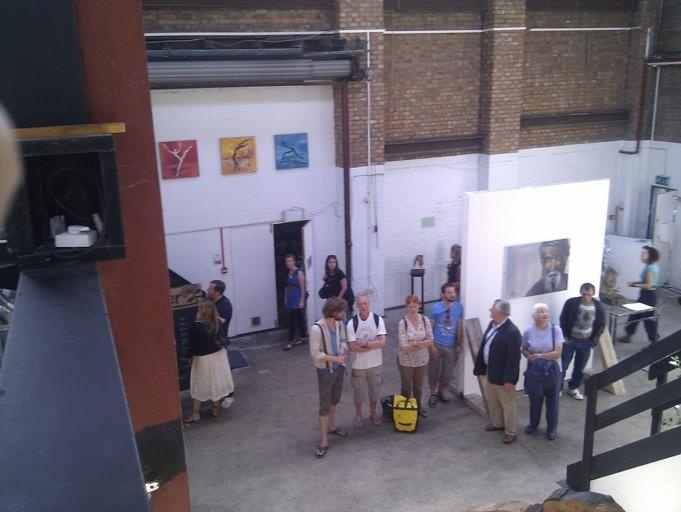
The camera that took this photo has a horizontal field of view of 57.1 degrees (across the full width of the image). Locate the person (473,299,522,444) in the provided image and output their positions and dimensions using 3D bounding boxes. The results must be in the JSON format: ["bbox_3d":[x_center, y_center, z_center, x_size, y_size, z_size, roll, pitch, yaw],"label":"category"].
[{"bbox_3d":[2.154,1.531,8.478,0.340,1.907,0.631,-12,14,-31],"label":"person"}]

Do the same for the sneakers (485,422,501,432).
[{"bbox_3d":[2.129,2.403,8.827,0.253,0.186,0.089,-1,12,0],"label":"sneakers"}]

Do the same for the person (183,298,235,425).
[{"bbox_3d":[-1.888,1.513,8.826,0.629,1.805,0.393,-8,13,-15],"label":"person"}]

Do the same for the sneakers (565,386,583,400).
[{"bbox_3d":[3.634,2.128,9.727,0.108,0.120,0.272,-7,10,-22],"label":"sneakers"}]

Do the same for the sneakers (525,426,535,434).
[{"bbox_3d":[2.651,2.403,8.675,0.188,0.081,0.076,-2,8,-30],"label":"sneakers"}]

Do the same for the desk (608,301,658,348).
[{"bbox_3d":[5.095,1.145,11.122,0.985,0.553,0.399,-11,14,-27],"label":"desk"}]

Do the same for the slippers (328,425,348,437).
[{"bbox_3d":[-0.036,2.416,8.645,0.192,0.082,0.111,0,11,0],"label":"slippers"}]

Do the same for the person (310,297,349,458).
[{"bbox_3d":[-0.139,1.540,8.214,0.545,2.035,0.646,-4,12,-1],"label":"person"}]

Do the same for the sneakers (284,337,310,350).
[{"bbox_3d":[-0.830,1.633,11.771,0.525,0.217,0.161,-3,6,-36],"label":"sneakers"}]

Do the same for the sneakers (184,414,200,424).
[{"bbox_3d":[-2.163,2.345,9.075,0.209,0.085,0.122,5,30,13],"label":"sneakers"}]

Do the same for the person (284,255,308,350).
[{"bbox_3d":[-0.883,0.799,11.642,0.459,1.764,1.040,-5,12,-6],"label":"person"}]

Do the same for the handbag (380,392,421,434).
[{"bbox_3d":[0.858,2.162,8.761,0.373,0.232,0.584,2,18,-4],"label":"handbag"}]

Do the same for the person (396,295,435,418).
[{"bbox_3d":[1.075,1.436,8.926,0.510,1.836,0.636,-3,12,3],"label":"person"}]

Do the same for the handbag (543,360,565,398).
[{"bbox_3d":[2.865,1.619,8.397,0.342,0.484,0.123,-14,16,-37],"label":"handbag"}]

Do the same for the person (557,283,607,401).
[{"bbox_3d":[3.583,1.276,9.415,0.600,1.885,0.477,10,20,19],"label":"person"}]
